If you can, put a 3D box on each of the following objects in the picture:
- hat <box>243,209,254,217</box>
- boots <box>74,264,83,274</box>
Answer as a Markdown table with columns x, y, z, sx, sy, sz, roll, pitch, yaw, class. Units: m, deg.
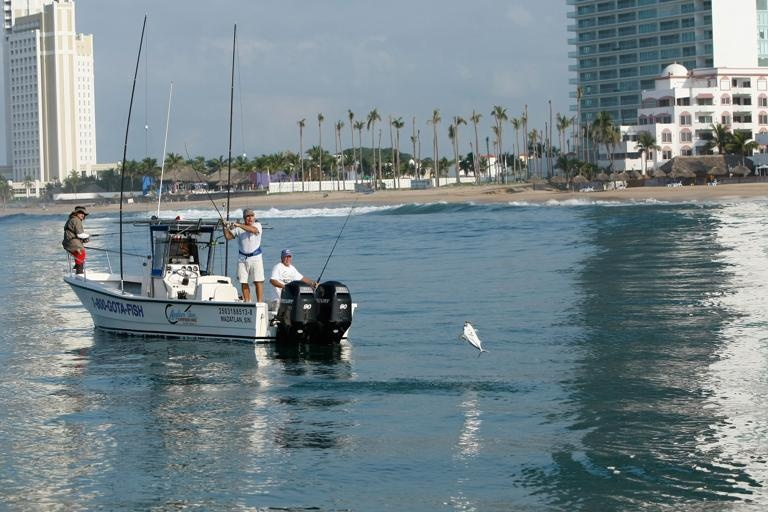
| x | y | z | sx | sy | sz | roll | pitch | yaw | class |
| --- | --- | --- | --- | --- | --- | --- | --- | --- | --- |
| -10.227 | -3.102 | 124.075 | 0.557 | 0.495 | 0.665 | -2 | -16 | -17 | hat |
| -23.307 | 1.107 | 126.918 | 0.725 | 0.817 | 0.843 | 0 | -3 | -42 | boots |
